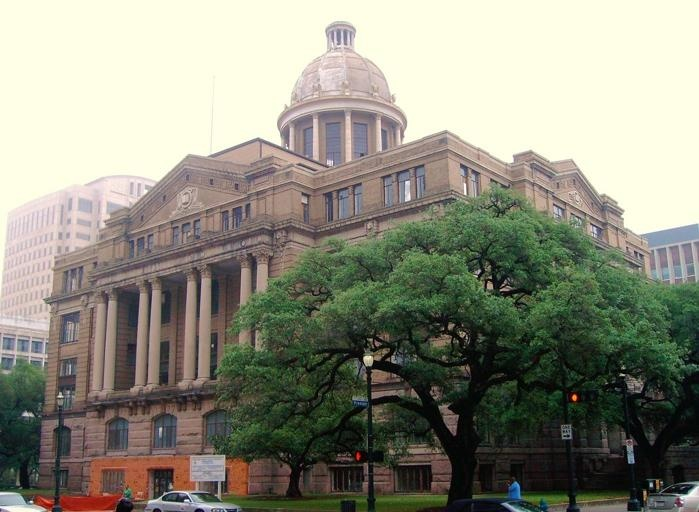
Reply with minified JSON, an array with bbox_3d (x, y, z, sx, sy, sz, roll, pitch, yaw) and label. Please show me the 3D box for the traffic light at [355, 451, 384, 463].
[{"bbox_3d":[1.097,11.121,46.155,1.447,0.677,0.813,-1,-7,-2],"label":"traffic light"}]
